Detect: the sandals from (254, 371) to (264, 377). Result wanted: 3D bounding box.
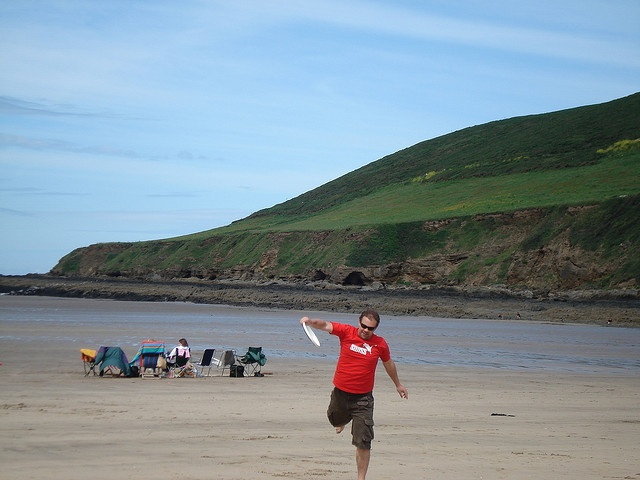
[{"bbox_3d":[-2.005,4.383,29.480,0.325,0.093,0.375,0,-4,-6],"label":"sandals"}]

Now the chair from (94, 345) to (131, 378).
[{"bbox_3d":[-6.738,3.825,28.907,1.074,0.578,0.935,15,-21,-34],"label":"chair"}]

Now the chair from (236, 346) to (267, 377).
[{"bbox_3d":[-2.411,4.132,30.186,1.479,0.960,1.103,2,-19,-10],"label":"chair"}]
